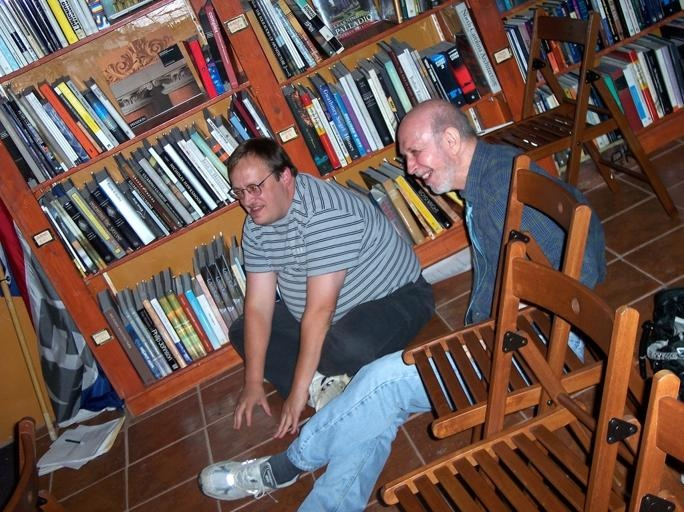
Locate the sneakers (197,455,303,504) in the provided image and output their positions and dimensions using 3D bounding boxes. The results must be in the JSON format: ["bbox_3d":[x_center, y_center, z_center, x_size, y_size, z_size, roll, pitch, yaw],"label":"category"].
[{"bbox_3d":[-0.407,0.903,2.171,0.488,0.185,0.196,-8,1,3],"label":"sneakers"}]

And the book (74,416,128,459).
[{"bbox_3d":[-1.276,0.991,2.817,0.078,0.313,0.298,-53,40,15],"label":"book"}]

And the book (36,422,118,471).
[{"bbox_3d":[-1.412,1.019,2.775,0.398,0.077,0.307,-20,25,10],"label":"book"}]

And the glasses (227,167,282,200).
[{"bbox_3d":[-0.372,-0.295,2.228,0.159,0.048,0.152,-43,18,-29],"label":"glasses"}]

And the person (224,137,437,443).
[{"bbox_3d":[-0.124,0.079,2.476,1.045,1.282,0.798,-18,23,-24],"label":"person"}]
